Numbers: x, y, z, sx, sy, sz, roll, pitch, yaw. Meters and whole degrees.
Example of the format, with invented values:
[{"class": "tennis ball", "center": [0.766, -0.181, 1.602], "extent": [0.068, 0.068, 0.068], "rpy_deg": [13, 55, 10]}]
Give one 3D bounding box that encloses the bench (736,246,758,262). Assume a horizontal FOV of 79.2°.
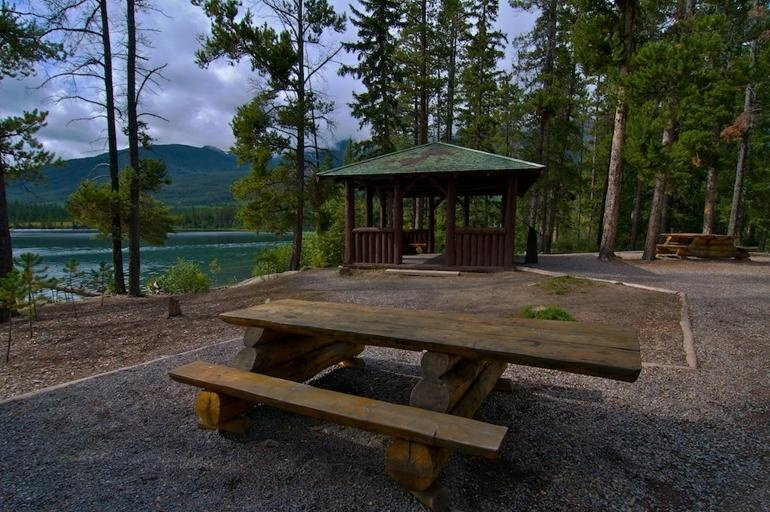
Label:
[{"class": "bench", "center": [16.269, -0.055, 20.809], "extent": [0.945, 0.261, 0.593], "rpy_deg": [-8, 10, -41]}]
